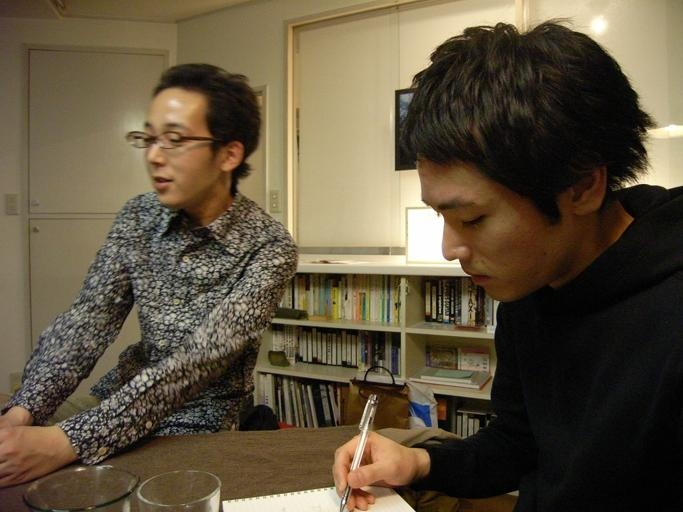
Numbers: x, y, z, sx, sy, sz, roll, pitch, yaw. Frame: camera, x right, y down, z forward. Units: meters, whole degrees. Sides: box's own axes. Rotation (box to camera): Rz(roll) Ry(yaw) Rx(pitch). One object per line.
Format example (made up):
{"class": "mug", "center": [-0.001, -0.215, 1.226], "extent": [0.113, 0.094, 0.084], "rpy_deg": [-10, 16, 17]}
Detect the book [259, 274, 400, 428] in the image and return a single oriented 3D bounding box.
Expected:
{"class": "book", "center": [-0.037, 0.547, 3.054], "extent": [0.971, 0.914, 0.320], "rpy_deg": [2, -2, 28]}

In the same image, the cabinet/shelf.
{"class": "cabinet/shelf", "center": [0.220, 0.486, 2.774], "extent": [0.984, 0.858, 0.290], "rpy_deg": [4, 0, 18]}
